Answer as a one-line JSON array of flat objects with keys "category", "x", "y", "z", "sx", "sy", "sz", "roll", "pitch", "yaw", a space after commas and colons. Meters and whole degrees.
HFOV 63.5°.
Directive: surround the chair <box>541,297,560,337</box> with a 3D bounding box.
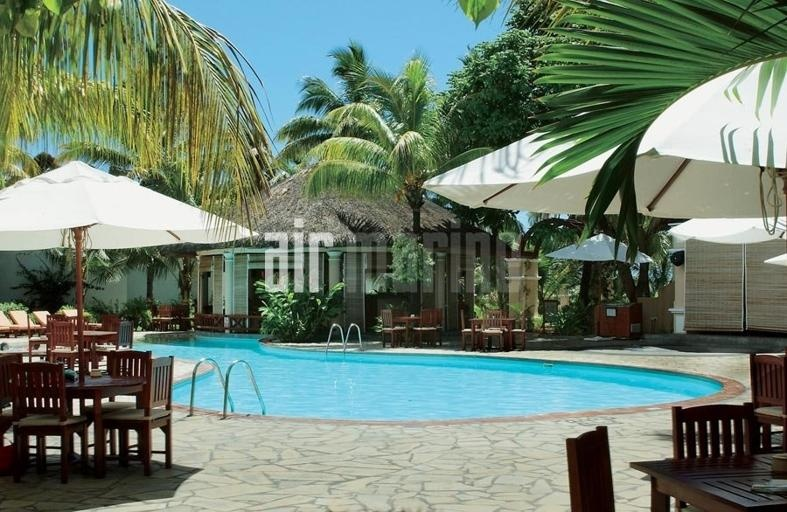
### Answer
[{"category": "chair", "x": 6.397, "y": 2.466, "z": 25.636, "sx": 0.779, "sy": 1.161, "sz": 0.811, "roll": -8, "pitch": -26, "yaw": 27}]
